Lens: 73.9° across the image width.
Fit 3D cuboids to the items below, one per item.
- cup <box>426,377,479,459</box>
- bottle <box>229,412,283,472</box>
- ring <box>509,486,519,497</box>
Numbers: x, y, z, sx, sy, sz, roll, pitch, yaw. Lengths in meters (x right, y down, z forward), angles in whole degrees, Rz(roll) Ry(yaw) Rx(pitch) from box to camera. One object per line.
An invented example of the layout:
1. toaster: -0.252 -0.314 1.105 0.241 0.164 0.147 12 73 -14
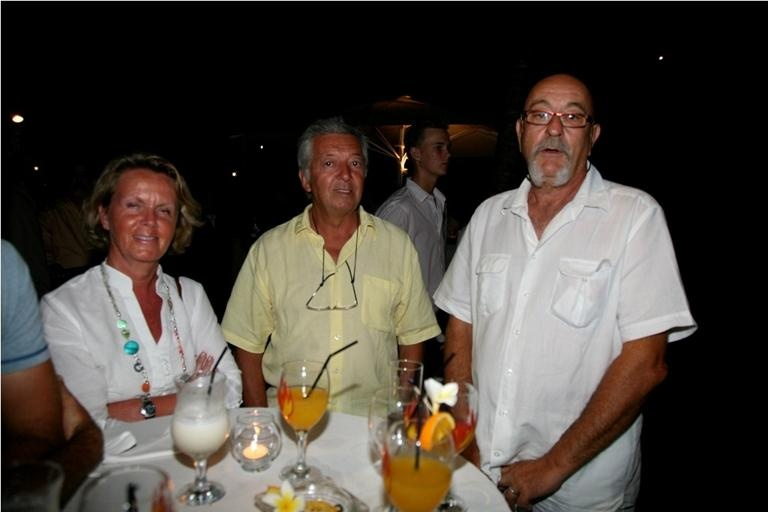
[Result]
1. cup: 0.338 0.823 2.586 0.314 0.285 0.373 0 -10 0
2. bottle: -0.717 1.038 2.861 0.239 0.242 0.280 1 -5 -8
3. ring: 0.805 1.463 3.172 0.050 0.017 0.049 32 -3 2
